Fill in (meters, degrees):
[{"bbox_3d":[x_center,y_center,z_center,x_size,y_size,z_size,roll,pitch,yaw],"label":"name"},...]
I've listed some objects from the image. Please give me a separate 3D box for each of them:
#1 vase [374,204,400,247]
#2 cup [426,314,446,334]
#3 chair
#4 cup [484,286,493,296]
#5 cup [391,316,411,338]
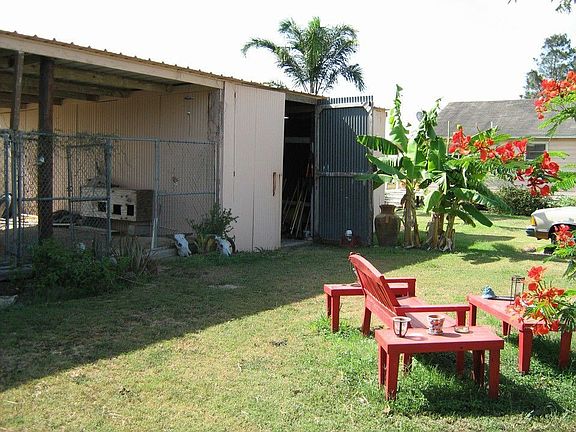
[{"bbox_3d":[2.800,0.234,12.852,0.888,1.672,0.989,0,-3,8],"label":"vase"},{"bbox_3d":[1.456,1.029,4.482,0.153,0.179,0.156,-3,2,0],"label":"cup"},{"bbox_3d":[1.317,1.068,5.314,0.952,1.289,1.714,-4,3,-6],"label":"chair"},{"bbox_3d":[2.511,0.928,5.705,0.087,0.148,0.136,1,-5,-13],"label":"cup"},{"bbox_3d":[1.093,1.053,4.398,0.157,0.145,0.169,-3,6,0],"label":"cup"}]
